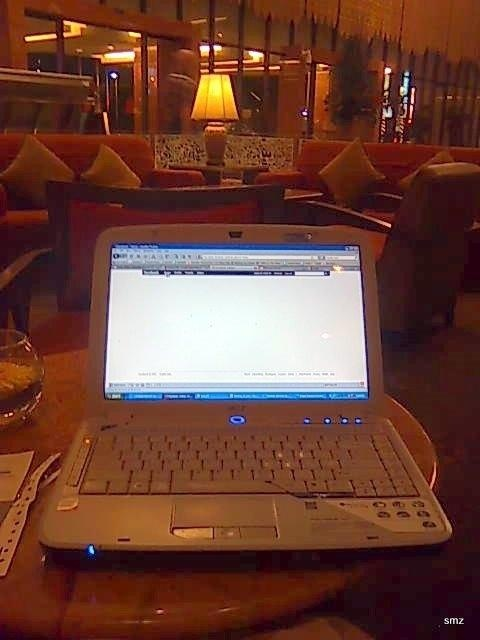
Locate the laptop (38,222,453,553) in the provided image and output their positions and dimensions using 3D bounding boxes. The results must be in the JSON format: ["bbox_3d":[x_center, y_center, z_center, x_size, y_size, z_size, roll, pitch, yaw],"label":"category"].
[{"bbox_3d":[0.005,-0.015,0.629,0.415,0.270,0.425,0,20,-2],"label":"laptop"}]
